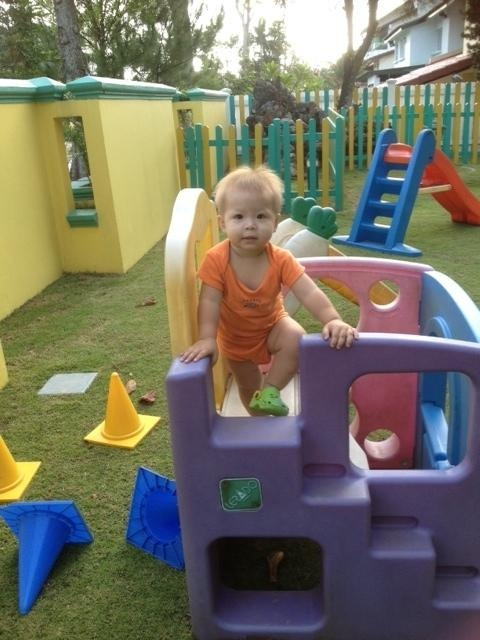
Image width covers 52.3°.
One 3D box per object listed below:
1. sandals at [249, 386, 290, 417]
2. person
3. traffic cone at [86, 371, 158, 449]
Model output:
[{"bbox_3d":[0.091,0.223,1.324,0.104,0.072,0.069,9,-1,-34],"label":"sandals"},{"bbox_3d":[0.091,-0.041,1.417,0.466,0.729,0.530,-2,12,7],"label":"person"},{"bbox_3d":[-0.526,0.361,2.118,0.266,0.304,0.276,6,24,15],"label":"traffic cone"}]
